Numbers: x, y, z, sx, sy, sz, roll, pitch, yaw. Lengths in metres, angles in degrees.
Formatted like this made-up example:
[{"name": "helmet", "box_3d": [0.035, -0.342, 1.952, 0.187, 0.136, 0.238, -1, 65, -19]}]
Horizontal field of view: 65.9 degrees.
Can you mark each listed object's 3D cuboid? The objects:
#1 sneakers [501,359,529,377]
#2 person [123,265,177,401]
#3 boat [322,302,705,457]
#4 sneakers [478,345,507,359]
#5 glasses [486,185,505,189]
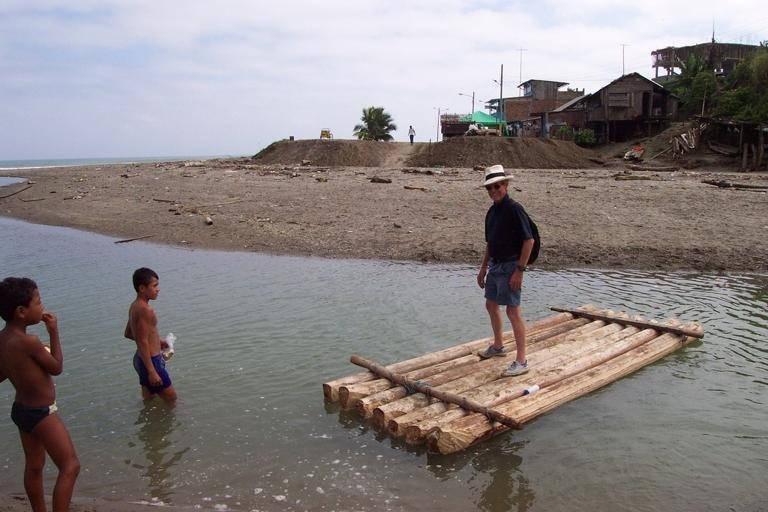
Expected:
[{"name": "sneakers", "box_3d": [2.139, 1.845, 9.639, 0.541, 0.181, 0.181, -5, 5, -13]}, {"name": "person", "box_3d": [-3.672, 1.269, 9.258, 0.647, 2.203, 0.505, -5, 13, -19]}, {"name": "boat", "box_3d": [2.460, 1.958, 9.907, 4.755, 0.408, 2.679, -6, 7, -35]}, {"name": "sneakers", "box_3d": [1.841, 1.659, 10.100, 0.491, 0.148, 0.198, 0, -4, -2]}, {"name": "glasses", "box_3d": [1.759, -1.099, 9.495, 0.247, 0.087, 0.125, 3, 10, 20]}]
